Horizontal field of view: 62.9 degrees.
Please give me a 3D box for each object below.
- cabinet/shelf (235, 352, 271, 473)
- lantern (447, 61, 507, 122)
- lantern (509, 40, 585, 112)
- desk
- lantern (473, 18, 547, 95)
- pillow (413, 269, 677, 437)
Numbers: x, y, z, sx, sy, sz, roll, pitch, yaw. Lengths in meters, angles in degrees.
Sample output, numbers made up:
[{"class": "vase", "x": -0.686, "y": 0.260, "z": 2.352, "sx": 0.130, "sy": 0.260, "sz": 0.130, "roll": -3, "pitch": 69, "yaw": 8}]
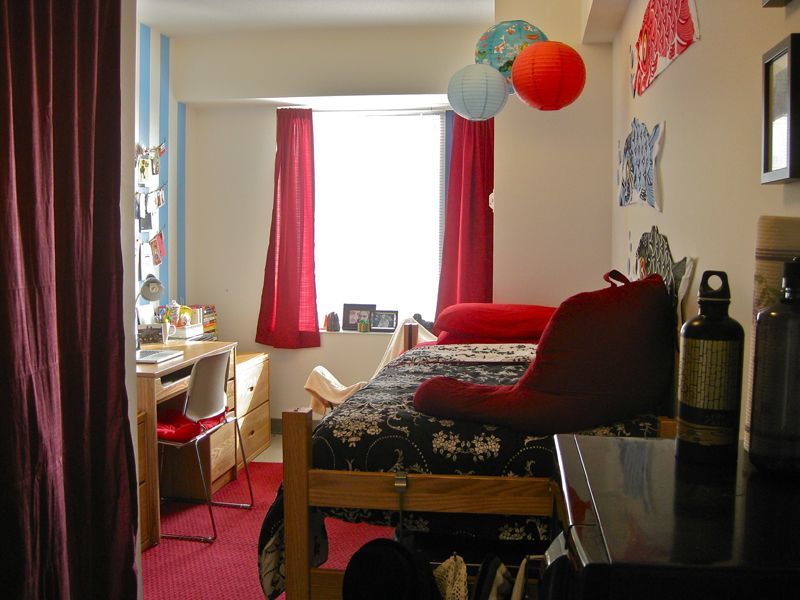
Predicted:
[{"class": "cabinet/shelf", "x": -0.904, "y": 0.707, "z": 4.018, "sx": 0.208, "sy": 0.582, "sz": 0.590, "roll": -1, "pitch": 8, "yaw": 2}, {"class": "lantern", "x": 0.364, "y": -0.978, "z": 3.095, "sx": 0.219, "sy": 0.214, "sz": 0.262, "roll": 7, "pitch": 10, "yaw": 19}, {"class": "lantern", "x": 0.693, "y": -0.982, "z": 3.023, "sx": 0.281, "sy": 0.377, "sz": 0.312, "roll": 4, "pitch": 10, "yaw": 27}, {"class": "desk", "x": -1.040, "y": 0.681, "z": 3.338, "sx": 0.472, "sy": 0.841, "sz": 0.767, "roll": -9, "pitch": 7, "yaw": -15}, {"class": "lantern", "x": 0.517, "y": -1.246, "z": 3.214, "sx": 0.302, "sy": 0.397, "sz": 0.324, "roll": 5, "pitch": -1, "yaw": -1}, {"class": "pillow", "x": 0.515, "y": 0.091, "z": 2.131, "sx": 0.536, "sy": 0.408, "sz": 0.547, "roll": -3, "pitch": -5, "yaw": 45}]
